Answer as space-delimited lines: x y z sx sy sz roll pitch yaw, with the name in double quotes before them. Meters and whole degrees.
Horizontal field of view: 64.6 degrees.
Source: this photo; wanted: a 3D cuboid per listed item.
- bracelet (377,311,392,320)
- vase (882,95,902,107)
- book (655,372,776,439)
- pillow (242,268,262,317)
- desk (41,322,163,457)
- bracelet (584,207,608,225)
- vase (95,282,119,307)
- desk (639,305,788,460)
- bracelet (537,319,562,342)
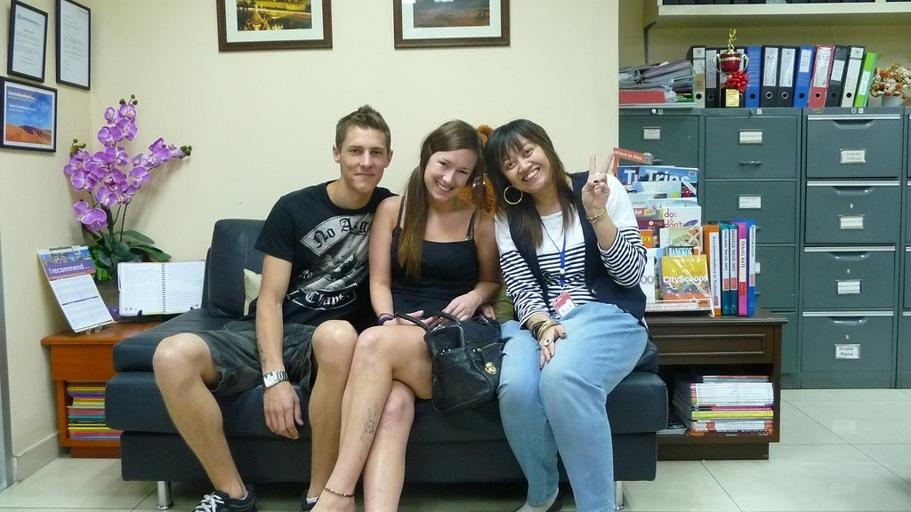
"bracelet" -0.386 0.338 4.021 0.080 0.030 0.068 -5 10 -8
"vase" 3.215 -1.144 5.305 0.141 0.096 0.104 4 7 27
"book" 1.634 0.890 4.421 0.537 0.163 0.432 0 -1 9
"pillow" -1.242 0.234 4.402 0.102 0.244 0.225 1 -26 3
"desk" -2.231 0.891 4.824 0.896 0.724 0.642 -3 -1 -31
"bracelet" 0.774 -0.219 3.944 0.086 0.032 0.090 -32 14 -36
"vase" -2.302 0.251 4.739 0.153 0.195 0.074 -10 3 -17
"desk" 1.627 0.830 4.654 0.912 0.798 0.612 0 -4 17
"bracelet" 0.510 0.402 3.937 0.092 0.056 0.109 -17 29 35
